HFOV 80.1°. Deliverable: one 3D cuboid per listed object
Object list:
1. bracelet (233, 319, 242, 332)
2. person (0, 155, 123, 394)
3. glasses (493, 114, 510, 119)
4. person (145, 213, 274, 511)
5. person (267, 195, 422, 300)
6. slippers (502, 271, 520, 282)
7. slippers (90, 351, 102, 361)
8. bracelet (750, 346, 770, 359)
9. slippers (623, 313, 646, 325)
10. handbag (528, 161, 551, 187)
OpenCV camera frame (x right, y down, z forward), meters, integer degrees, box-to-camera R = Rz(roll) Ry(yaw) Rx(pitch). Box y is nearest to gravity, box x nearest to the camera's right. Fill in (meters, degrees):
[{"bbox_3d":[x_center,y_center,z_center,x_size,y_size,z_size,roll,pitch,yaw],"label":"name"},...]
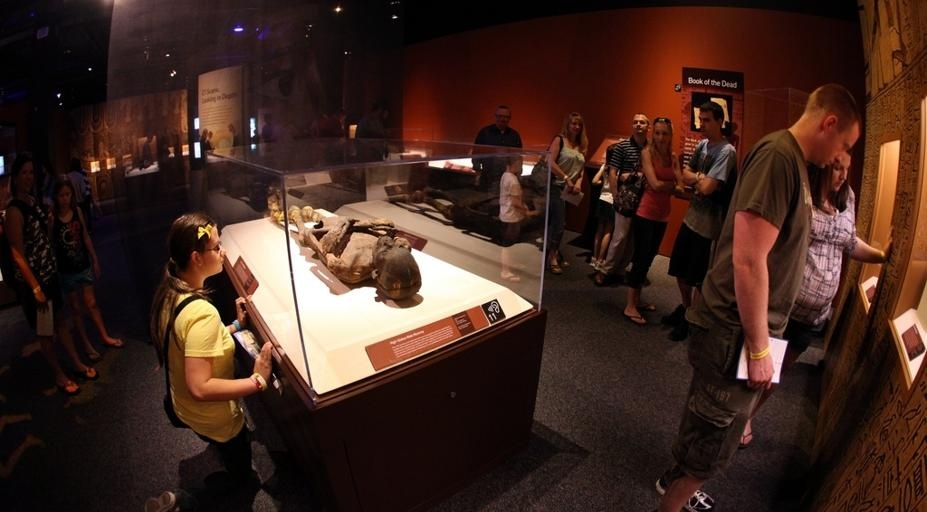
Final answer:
[{"bbox_3d":[-1.884,0.573,4.558,0.065,0.080,0.063,14,13,33],"label":"bracelet"},{"bbox_3d":[-3.173,0.188,4.131,0.192,1.859,0.345,4,16,18],"label":"person"},{"bbox_3d":[0.528,-1.880,7.502,0.114,0.033,0.113,-5,28,-10],"label":"glasses"},{"bbox_3d":[-2.068,0.921,4.494,1.058,2.369,1.064,-19,54,-38],"label":"person"},{"bbox_3d":[-1.013,-0.138,4.501,1.433,0.466,0.580,37,38,26],"label":"person"},{"bbox_3d":[0.391,0.164,4.545,0.149,0.093,0.072,6,20,27],"label":"slippers"},{"bbox_3d":[-3.036,0.813,4.516,0.064,0.034,0.133,7,14,-40],"label":"slippers"},{"bbox_3d":[2.133,0.692,3.934,0.097,0.028,0.096,-12,6,20],"label":"bracelet"},{"bbox_3d":[2.014,0.736,6.410,0.206,0.076,0.114,9,18,39],"label":"slippers"},{"bbox_3d":[0.586,-0.640,4.283,0.107,0.182,0.141,30,35,29],"label":"handbag"}]
